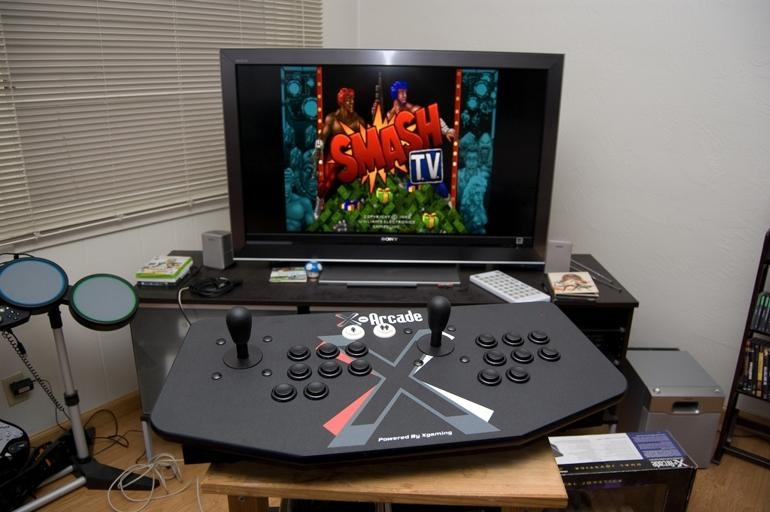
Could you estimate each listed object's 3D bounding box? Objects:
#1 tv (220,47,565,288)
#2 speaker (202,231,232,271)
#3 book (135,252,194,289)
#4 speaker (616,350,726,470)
[{"bbox_3d":[0.028,-0.473,2.811,1.243,0.870,0.324,1,25,-1],"label":"tv"},{"bbox_3d":[-0.890,-0.031,2.923,0.159,0.219,0.118,9,15,17],"label":"speaker"},{"bbox_3d":[-1.116,0.078,2.837,0.184,0.050,0.184,0,23,2],"label":"book"},{"bbox_3d":[1.359,0.759,2.987,0.444,0.569,0.596,1,17,5],"label":"speaker"}]
